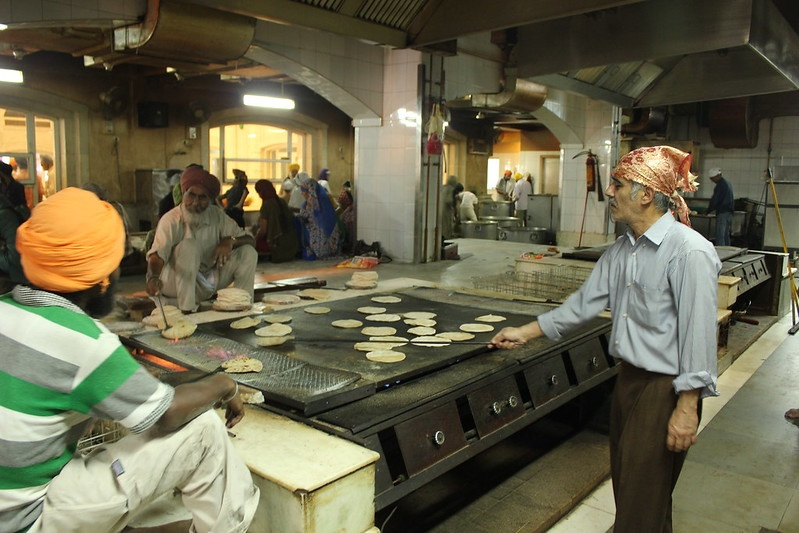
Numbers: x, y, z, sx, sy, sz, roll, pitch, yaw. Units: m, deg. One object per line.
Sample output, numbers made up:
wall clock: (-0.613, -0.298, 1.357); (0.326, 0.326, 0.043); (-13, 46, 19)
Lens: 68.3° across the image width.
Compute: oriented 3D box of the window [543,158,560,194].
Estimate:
window: (5.516, -3.255, 21.446); (0.681, 1.476, 0.125); (0, 1, -4)

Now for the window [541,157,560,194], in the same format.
window: (5.522, -3.312, 21.485); (0.815, 1.759, 0.124); (-5, 26, 1)

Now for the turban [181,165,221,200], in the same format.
turban: (-1.898, -0.847, 5.708); (0.306, 0.315, 0.369); (-10, 40, -34)

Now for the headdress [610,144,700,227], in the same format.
headdress: (1.367, -0.467, 3.201); (0.482, 0.398, 0.345); (13, 18, 9)

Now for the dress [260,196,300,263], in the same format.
dress: (-2.158, -0.833, 10.589); (0.607, 0.969, 0.834); (-5, 16, -39)

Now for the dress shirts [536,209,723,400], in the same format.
dress shirts: (1.313, 0.140, 3.129); (0.334, 0.858, 0.890); (-9, 19, -39)

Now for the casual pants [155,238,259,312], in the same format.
casual pants: (-1.913, 0.053, 5.819); (0.766, 0.600, 0.870); (-1, 1, -40)

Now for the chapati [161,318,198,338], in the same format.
chapati: (-1.377, 0.397, 3.661); (0.163, 0.059, 0.124); (-9, 9, -5)

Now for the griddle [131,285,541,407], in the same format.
griddle: (-0.580, 0.495, 3.865); (1.452, 0.114, 2.008); (12, 9, 21)
